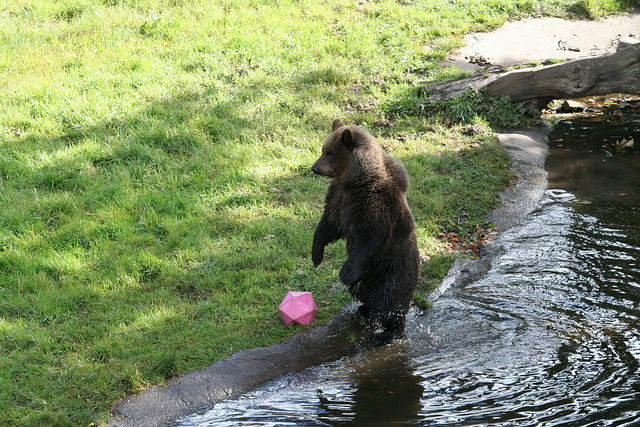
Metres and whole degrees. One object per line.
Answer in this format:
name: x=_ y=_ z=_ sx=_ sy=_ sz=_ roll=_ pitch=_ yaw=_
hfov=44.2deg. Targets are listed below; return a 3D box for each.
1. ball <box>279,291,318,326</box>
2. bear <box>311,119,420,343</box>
ball: x=-0.357 y=1.564 z=12.884 sx=0.675 sy=0.527 sz=0.583 roll=-4 pitch=9 yaw=-34
bear: x=0.762 y=0.266 z=12.773 sx=1.384 sy=3.308 sz=1.431 roll=11 pitch=33 yaw=42
